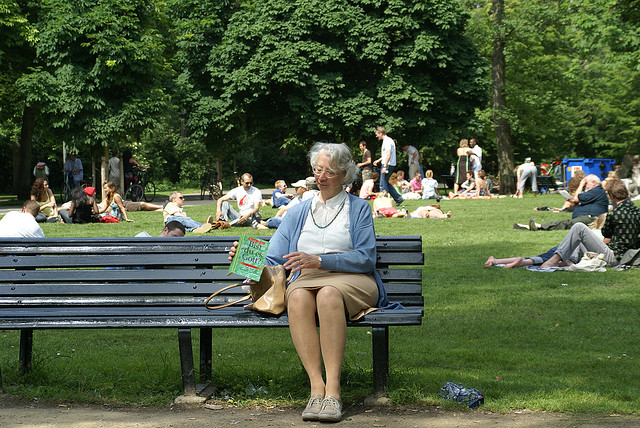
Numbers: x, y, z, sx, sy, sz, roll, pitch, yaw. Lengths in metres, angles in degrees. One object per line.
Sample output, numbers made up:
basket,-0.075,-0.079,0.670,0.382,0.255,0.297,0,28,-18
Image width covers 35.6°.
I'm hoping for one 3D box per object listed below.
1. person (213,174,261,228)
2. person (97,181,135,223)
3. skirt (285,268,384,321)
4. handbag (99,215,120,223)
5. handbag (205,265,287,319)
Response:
person,-2.382,-0.308,29.684,1.097,1.726,1.528,-1,-1,10
person,-6.482,-0.414,31.204,0.975,1.253,1.354,-3,2,-23
skirt,0.451,1.567,19.080,1.189,0.501,1.427,6,0,22
handbag,-6.508,0.133,30.668,0.608,0.219,0.568,-2,2,-11
handbag,-1.405,1.528,19.167,1.505,0.574,0.954,-6,6,1
